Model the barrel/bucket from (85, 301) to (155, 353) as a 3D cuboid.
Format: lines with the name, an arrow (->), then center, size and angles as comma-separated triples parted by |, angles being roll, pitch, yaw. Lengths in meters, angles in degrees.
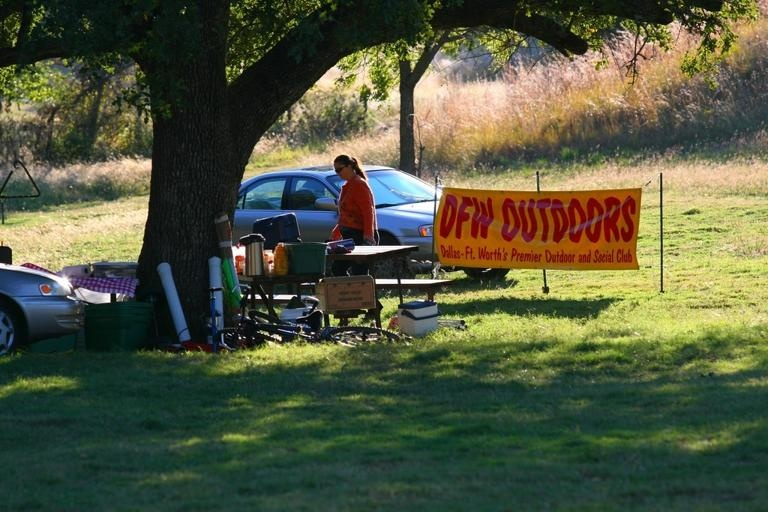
barrel/bucket -> -4.712, 1.231, 29.751 | 1.057, 0.711, 0.834 | -2, -2, 8

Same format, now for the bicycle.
bicycle -> -1.458, 1.273, 30.129 | 2.982, 0.644, 0.910 | -4, 12, -2

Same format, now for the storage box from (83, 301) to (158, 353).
storage box -> -4.726, 1.245, 29.630 | 1.058, 0.713, 0.835 | -1, 0, 7
